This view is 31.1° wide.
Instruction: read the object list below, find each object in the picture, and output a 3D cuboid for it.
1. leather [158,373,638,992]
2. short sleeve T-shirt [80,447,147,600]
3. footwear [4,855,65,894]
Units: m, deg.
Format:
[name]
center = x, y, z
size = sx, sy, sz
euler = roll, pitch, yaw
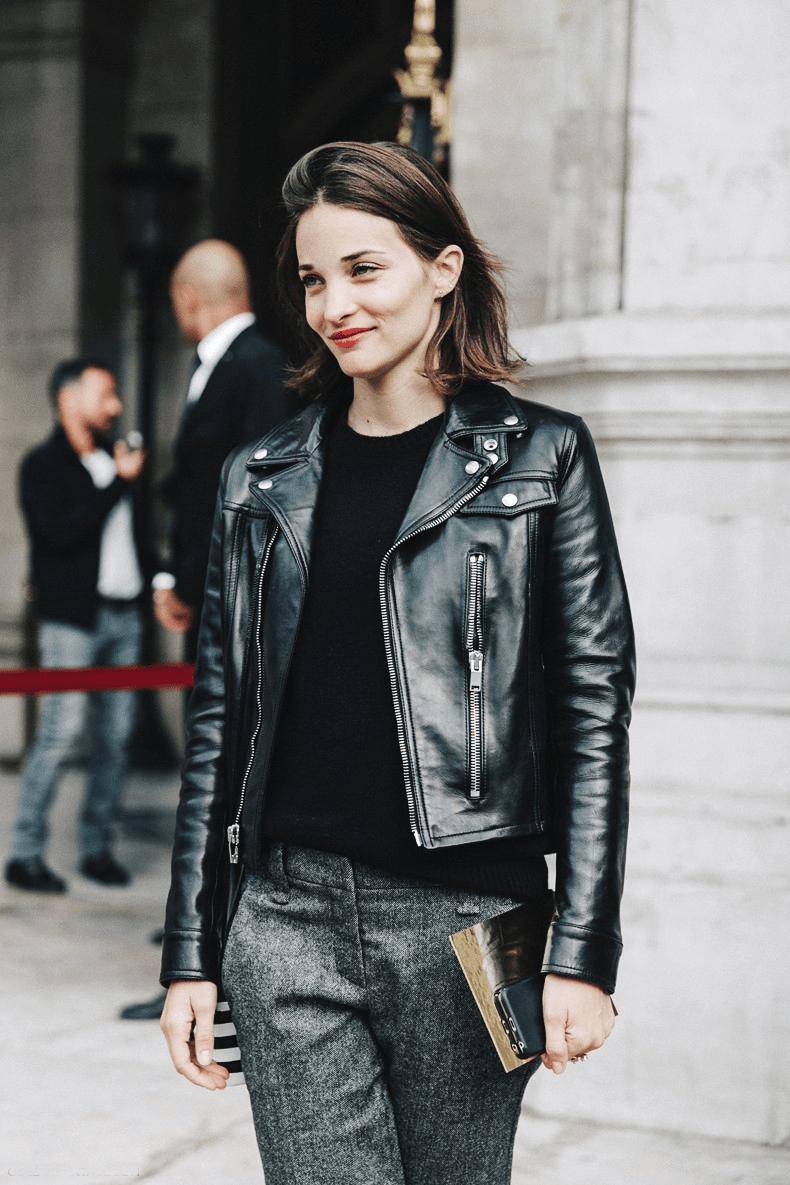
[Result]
[leather]
center = -0.001, 0.137, 1.888
size = 0.638, 0.804, 0.435
euler = 2, 12, 13
[short sleeve T-shirt]
center = -0.806, -0.102, 4.102
size = 0.114, 0.391, 0.102
euler = -17, 58, -22
[footwear]
center = -1.024, 0.798, 3.986
size = 0.203, 0.079, 0.073
euler = 4, -1, 15
